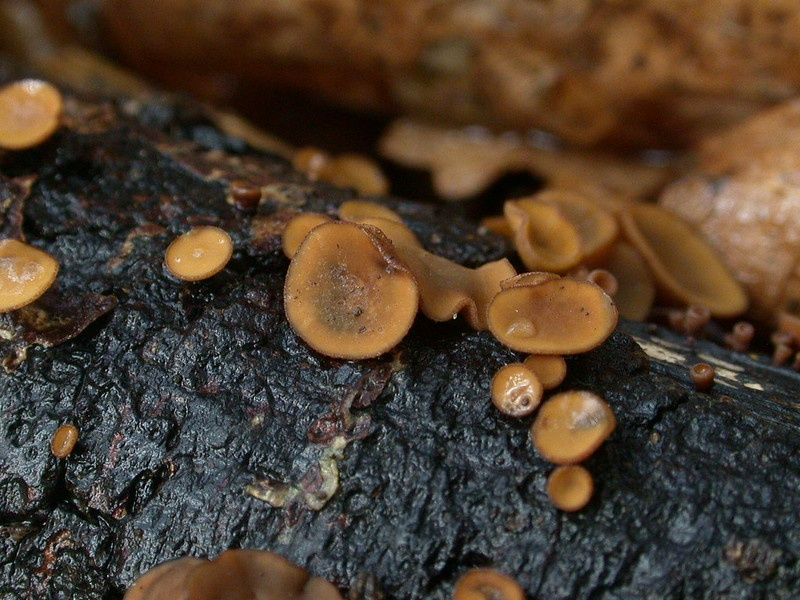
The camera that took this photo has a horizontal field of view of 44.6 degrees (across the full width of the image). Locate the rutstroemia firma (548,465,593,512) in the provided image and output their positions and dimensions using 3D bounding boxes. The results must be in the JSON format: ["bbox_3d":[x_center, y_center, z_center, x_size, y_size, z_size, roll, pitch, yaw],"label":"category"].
[{"bbox_3d":[1.025,1.133,5.916,0.262,0.070,0.257,1,81,-5],"label":"rutstroemia firma"}]

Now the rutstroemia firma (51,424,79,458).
[{"bbox_3d":[-2.137,0.889,6.221,0.145,0.040,0.201,4,71,7],"label":"rutstroemia firma"}]
